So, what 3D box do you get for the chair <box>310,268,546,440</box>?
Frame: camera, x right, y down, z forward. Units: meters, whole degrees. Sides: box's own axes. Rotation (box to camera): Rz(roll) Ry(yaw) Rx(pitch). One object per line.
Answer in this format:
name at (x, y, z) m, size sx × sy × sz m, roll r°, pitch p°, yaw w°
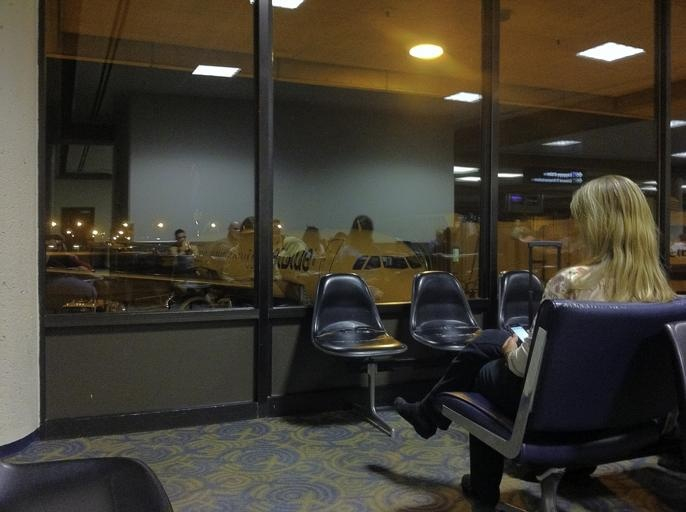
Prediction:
chair at (0.376, 0.473, 4.121) m, size 1.625 × 1.187 × 0.986 m, roll 1°, pitch -4°, yaw -24°
